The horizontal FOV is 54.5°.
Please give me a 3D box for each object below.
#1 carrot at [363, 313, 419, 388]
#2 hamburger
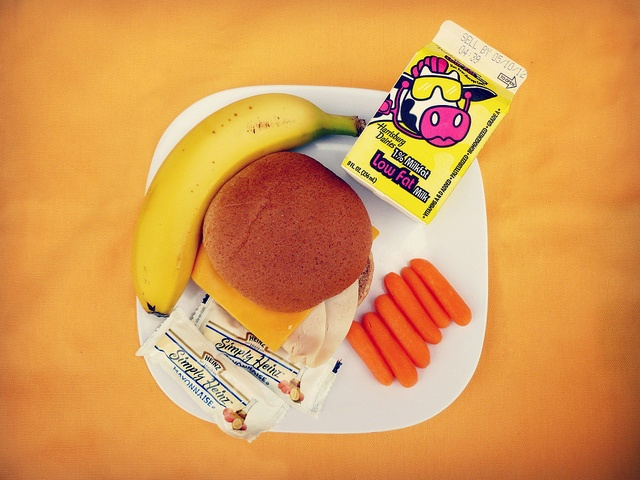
[{"bbox_3d":[0.235,0.362,2.110,0.092,0.086,0.335,-33,87,-3],"label":"carrot"},{"bbox_3d":[-0.096,0.035,1.934,0.557,0.269,0.538,34,85,4],"label":"hamburger"}]
